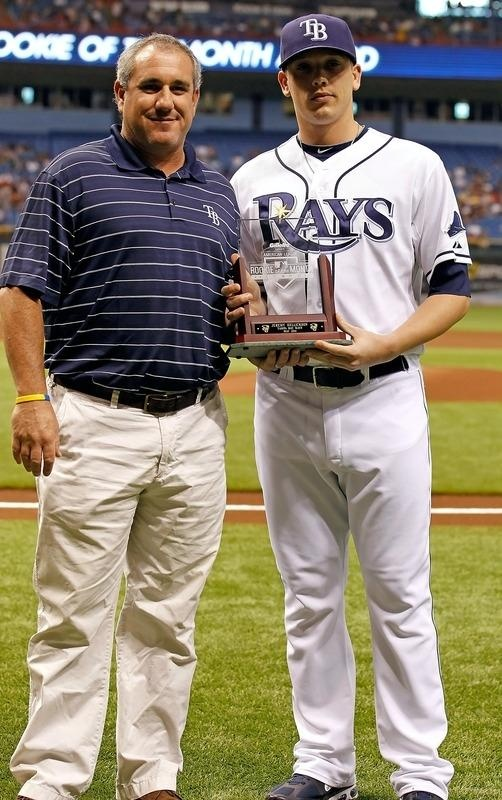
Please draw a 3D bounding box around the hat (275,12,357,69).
[{"bbox_3d":[0.193,-1.051,3.169,0.153,0.093,0.190,-2,3,5],"label":"hat"}]

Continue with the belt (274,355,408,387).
[{"bbox_3d":[0.283,-0.082,3.184,0.369,0.069,0.092,-4,20,2],"label":"belt"}]
